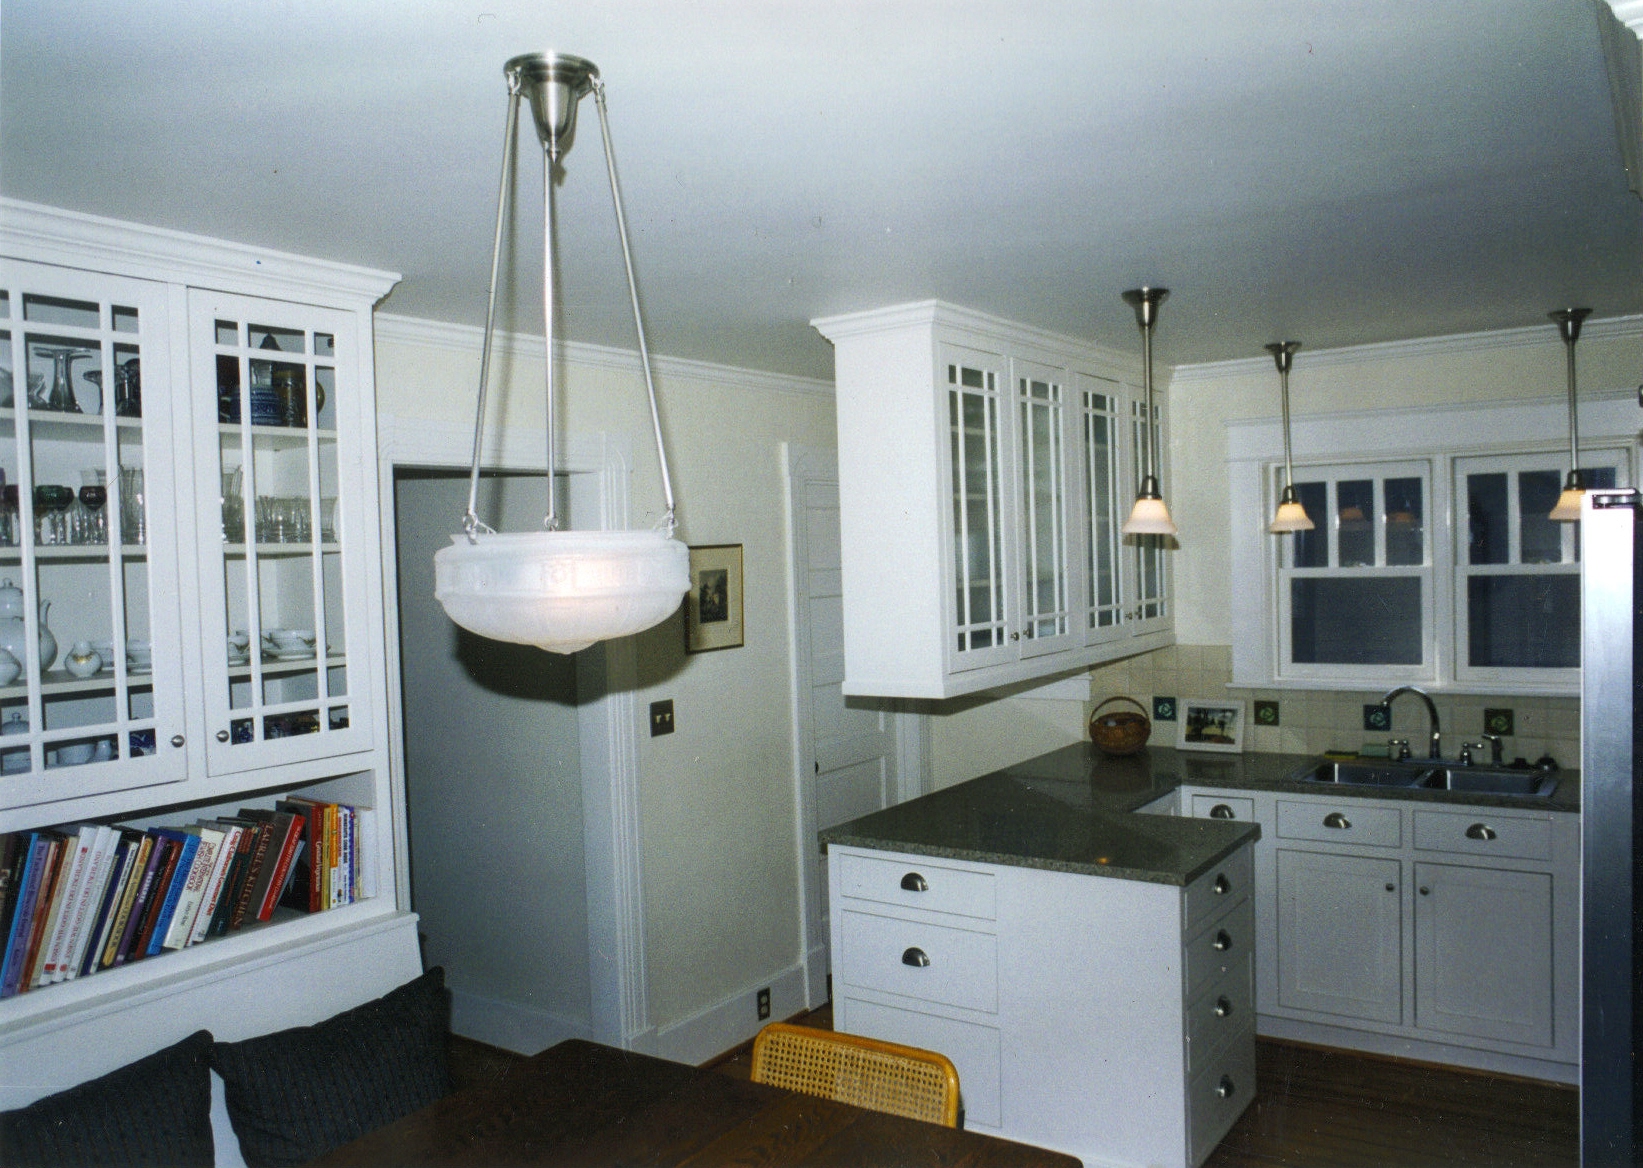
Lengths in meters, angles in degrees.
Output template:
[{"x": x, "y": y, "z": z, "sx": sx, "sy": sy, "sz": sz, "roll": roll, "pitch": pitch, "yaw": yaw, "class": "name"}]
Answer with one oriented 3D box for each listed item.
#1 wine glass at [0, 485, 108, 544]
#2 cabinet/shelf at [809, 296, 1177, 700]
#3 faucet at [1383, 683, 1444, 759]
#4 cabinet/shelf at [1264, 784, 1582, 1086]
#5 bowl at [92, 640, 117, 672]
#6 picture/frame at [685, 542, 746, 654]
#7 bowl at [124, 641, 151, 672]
[{"x": -1.944, "y": -0.180, "z": 3.249, "sx": 0.172, "sy": 0.117, "sz": 0.171, "roll": 0, "pitch": 4, "yaw": 2, "class": "wine glass"}, {"x": 0.636, "y": -0.358, "z": 4.740, "sx": 0.347, "sy": 0.922, "sz": 1.524, "roll": -3, "pitch": -1, "yaw": 30, "class": "cabinet/shelf"}, {"x": 2.440, "y": 0.564, "z": 5.302, "sx": 0.232, "sy": 0.298, "sz": 0.174, "roll": 0, "pitch": 3, "yaw": 23, "class": "faucet"}, {"x": 2.317, "y": 1.318, "z": 4.854, "sx": 1.457, "sy": 1.209, "sz": 0.561, "roll": -2, "pitch": -6, "yaw": 27, "class": "cabinet/shelf"}, {"x": -1.861, "y": 0.189, "z": 3.358, "sx": 0.069, "sy": 0.074, "sz": 0.068, "roll": 2, "pitch": -1, "yaw": 0, "class": "bowl"}, {"x": -0.418, "y": 0.053, "z": 5.040, "sx": 0.021, "sy": 0.555, "sz": 0.450, "roll": 4, "pitch": 4, "yaw": 30, "class": "picture/frame"}, {"x": -1.791, "y": 0.192, "z": 3.387, "sx": 0.073, "sy": 0.073, "sz": 0.071, "roll": 1, "pitch": -3, "yaw": 0, "class": "bowl"}]
